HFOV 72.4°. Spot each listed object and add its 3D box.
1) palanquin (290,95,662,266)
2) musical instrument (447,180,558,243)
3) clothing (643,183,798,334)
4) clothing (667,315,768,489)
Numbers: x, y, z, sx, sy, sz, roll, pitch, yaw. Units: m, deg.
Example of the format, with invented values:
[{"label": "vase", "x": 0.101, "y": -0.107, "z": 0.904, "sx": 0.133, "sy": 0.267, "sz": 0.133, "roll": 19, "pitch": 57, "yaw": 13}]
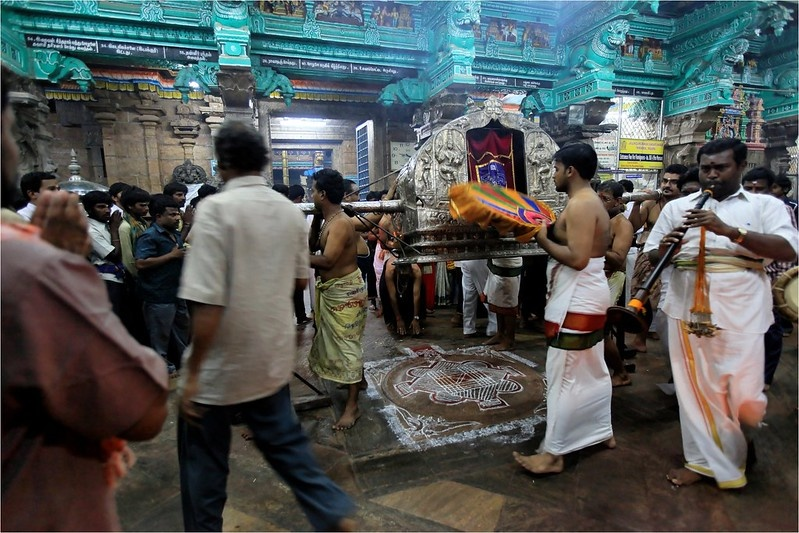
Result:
[{"label": "palanquin", "x": 1.202, "y": -1.358, "z": 7.743, "sx": 4.679, "sy": 1.912, "sz": 0.864, "roll": -3, "pitch": 16, "yaw": -13}, {"label": "musical instrument", "x": 0.982, "y": -0.543, "z": 5.337, "sx": 0.870, "sy": 0.215, "sz": 0.758, "roll": 10, "pitch": 31, "yaw": -25}, {"label": "clothing", "x": 3.064, "y": -0.033, "z": 5.338, "sx": 1.223, "sy": 1.646, "sz": 1.530, "roll": 4, "pitch": -2, "yaw": -44}, {"label": "clothing", "x": 2.768, "y": 1.223, "z": 4.860, "sx": 0.782, "sy": 1.390, "sz": 0.443, "roll": 7, "pitch": 16, "yaw": 31}]
